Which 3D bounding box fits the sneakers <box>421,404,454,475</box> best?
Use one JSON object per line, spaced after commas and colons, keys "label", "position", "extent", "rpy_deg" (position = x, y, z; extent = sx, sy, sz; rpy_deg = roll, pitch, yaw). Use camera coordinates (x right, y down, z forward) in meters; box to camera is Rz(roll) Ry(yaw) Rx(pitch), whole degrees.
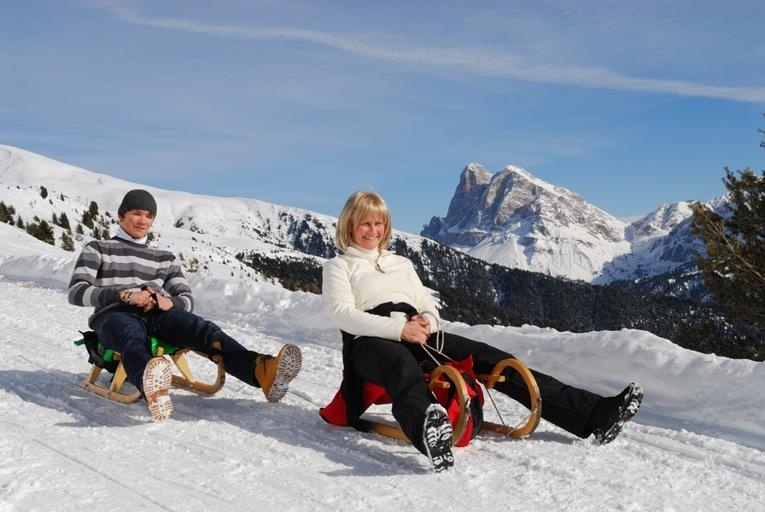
{"label": "sneakers", "position": [0.504, 1.681, 7.405], "extent": [0.244, 0.655, 0.290], "rpy_deg": [-8, 0, -20]}

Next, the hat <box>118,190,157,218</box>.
{"label": "hat", "position": [-2.765, -0.643, 8.891], "extent": [0.375, 0.260, 0.364], "rpy_deg": [-15, -20, 42]}

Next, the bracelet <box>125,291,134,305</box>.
{"label": "bracelet", "position": [-2.681, 0.438, 8.334], "extent": [0.082, 0.111, 0.050], "rpy_deg": [3, 5, -6]}

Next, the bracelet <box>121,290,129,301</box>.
{"label": "bracelet", "position": [-2.724, 0.426, 8.345], "extent": [0.071, 0.085, 0.091], "rpy_deg": [17, -13, -23]}
